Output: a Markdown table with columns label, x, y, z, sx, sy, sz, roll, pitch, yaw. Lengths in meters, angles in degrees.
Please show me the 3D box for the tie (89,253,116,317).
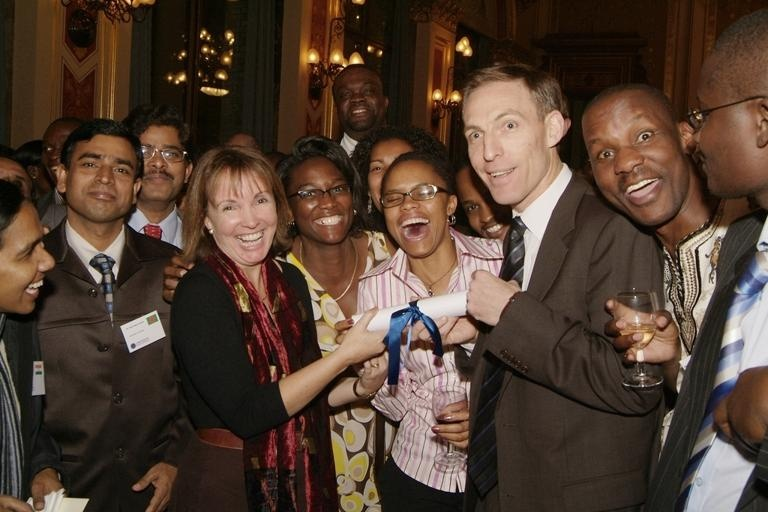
| label | x | y | z | sx | sy | sz | roll | pitch | yaw |
| --- | --- | --- | --- | --- | --- | --- | --- | --- | --- |
| tie | -1.505 | 0.149 | 3.605 | 0.138 | 0.336 | 0.070 | -4 | -11 | -26 |
